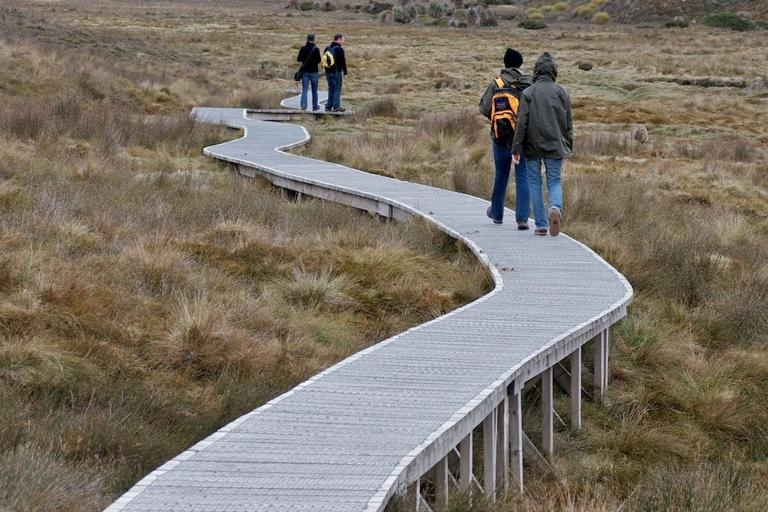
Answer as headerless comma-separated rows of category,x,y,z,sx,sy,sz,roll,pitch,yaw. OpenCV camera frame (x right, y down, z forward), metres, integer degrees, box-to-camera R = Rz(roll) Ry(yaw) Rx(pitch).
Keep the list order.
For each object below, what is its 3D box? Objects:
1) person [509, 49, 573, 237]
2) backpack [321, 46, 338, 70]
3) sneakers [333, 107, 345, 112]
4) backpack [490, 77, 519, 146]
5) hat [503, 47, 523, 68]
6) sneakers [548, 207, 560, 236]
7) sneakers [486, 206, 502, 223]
person,2.081,-1.401,11.506,0.741,2.350,0.736,6,17,17
backpack,-1.442,-4.951,21.962,0.362,0.830,0.497,-5,9,-26
sneakers,-1.197,-3.843,23.301,0.292,0.157,0.121,-6,43,-4
backpack,1.619,-1.912,11.864,0.398,0.739,0.706,1,30,10
hat,1.745,-2.623,11.754,0.202,0.312,0.298,3,26,-3
sneakers,2.231,-0.449,11.424,0.112,0.429,0.165,-2,22,8
sneakers,1.541,-0.543,12.168,0.099,0.154,0.344,-3,34,-10
